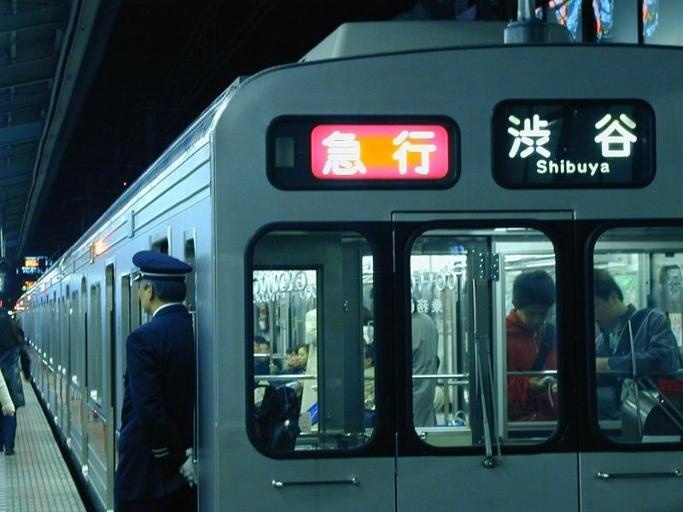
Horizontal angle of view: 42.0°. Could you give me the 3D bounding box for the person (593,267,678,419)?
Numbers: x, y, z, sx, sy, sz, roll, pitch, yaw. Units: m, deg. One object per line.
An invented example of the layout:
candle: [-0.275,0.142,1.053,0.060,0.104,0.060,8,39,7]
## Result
person: [1.600,0.452,4.880,0.631,0.785,0.254,2,-1,2]

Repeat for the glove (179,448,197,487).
glove: [-0.853,1.173,4.988,0.118,0.201,0.054,-28,-38,31]

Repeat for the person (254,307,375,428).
person: [-0.148,0.722,5.414,0.404,0.574,0.900,0,-6,-8]

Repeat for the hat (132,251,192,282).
hat: [-1.070,0.057,5.217,0.228,0.110,0.212,0,2,41]
